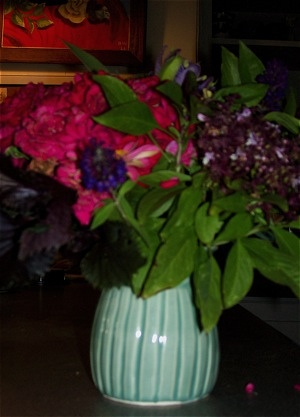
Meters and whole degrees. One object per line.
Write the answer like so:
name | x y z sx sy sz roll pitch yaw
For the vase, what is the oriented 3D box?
vase | -0.003 0.132 0.367 0.115 0.122 0.121 2 -7 -9
